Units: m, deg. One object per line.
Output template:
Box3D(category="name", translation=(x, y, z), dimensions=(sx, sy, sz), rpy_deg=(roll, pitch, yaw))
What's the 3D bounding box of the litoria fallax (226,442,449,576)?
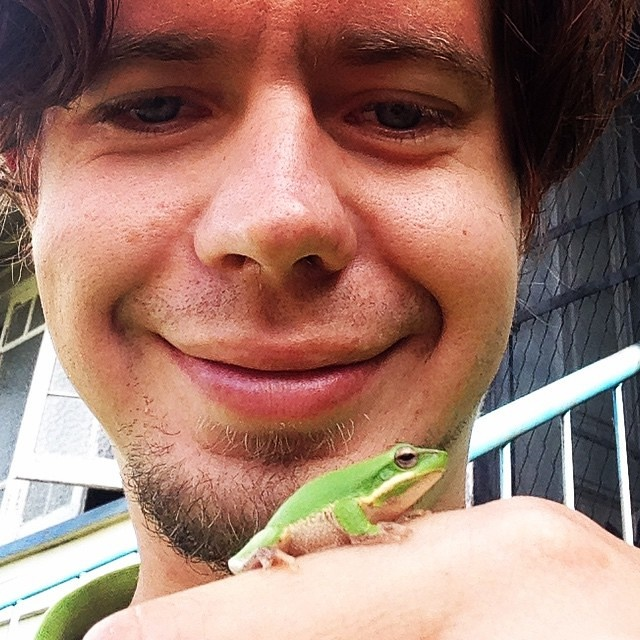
Box3D(category="litoria fallax", translation=(0.035, 0.405, 2.153), dimensions=(0.376, 0.313, 0.154), rpy_deg=(-22, 92, 8))
